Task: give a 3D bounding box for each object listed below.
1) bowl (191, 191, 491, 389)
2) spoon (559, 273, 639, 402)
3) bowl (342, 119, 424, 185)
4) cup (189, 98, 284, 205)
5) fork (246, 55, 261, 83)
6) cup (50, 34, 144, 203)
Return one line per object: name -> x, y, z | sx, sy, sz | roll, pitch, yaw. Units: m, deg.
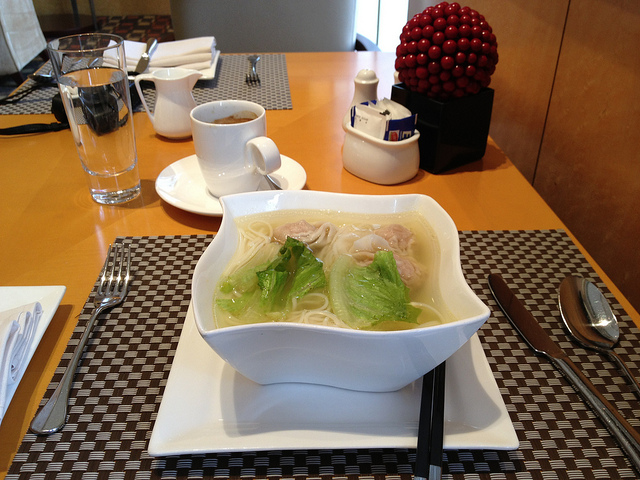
bowl -> 0.016, 0.043, 0.660 | 0.347, 0.127, 0.293 | 0, 43, 0
spoon -> 0.401, 0.125, 0.745 | 0.046, 0.034, 0.242 | -1, 43, -7
bowl -> 0.138, -0.212, 1.130 | 0.180, 0.117, 0.199 | 17, 30, 15
cup -> -0.170, -0.166, 0.994 | 0.140, 0.181, 0.231 | -16, 37, -31
fork -> -0.225, -0.585, 1.623 | 0.040, 0.020, 0.136 | 1, 43, -4
cup -> -0.467, -0.253, 1.018 | 0.128, 0.320, 0.131 | 3, 32, -2
